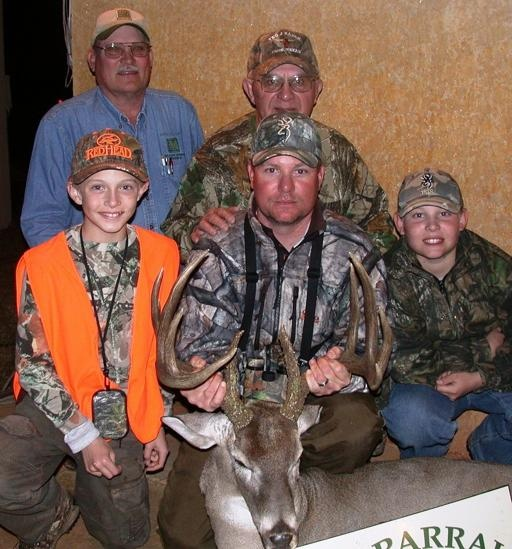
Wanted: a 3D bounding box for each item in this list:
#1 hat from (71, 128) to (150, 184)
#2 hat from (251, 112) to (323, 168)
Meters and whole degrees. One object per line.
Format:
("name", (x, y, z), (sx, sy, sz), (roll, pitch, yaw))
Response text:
("hat", (-0.876, -0.705, 3.424), (0.464, 0.329, 0.591), (-5, 21, -18))
("hat", (0.185, -0.846, 3.545), (0.438, 0.305, 0.598), (1, 16, 0))
